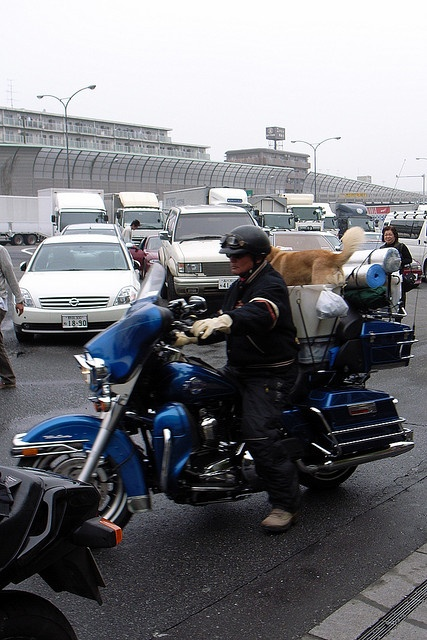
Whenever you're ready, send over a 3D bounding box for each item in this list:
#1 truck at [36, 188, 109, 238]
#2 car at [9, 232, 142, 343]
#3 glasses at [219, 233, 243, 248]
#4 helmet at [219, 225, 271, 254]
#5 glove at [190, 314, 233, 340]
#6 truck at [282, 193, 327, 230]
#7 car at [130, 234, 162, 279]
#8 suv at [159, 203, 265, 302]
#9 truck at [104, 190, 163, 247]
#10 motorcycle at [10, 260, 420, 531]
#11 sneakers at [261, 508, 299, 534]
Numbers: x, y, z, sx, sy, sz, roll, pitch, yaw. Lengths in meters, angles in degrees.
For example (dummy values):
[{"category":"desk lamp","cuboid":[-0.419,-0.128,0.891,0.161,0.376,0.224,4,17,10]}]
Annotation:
[{"category":"truck","cuboid":[-7.392,-5.501,29.047,2.760,3.066,6.188,-1,9,-16]},{"category":"car","cuboid":[-2.645,-0.987,10.960,2.233,1.789,4.204,-1,16,-8]},{"category":"glasses","cuboid":[0.087,-0.452,3.034,0.104,0.038,0.080,-5,6,-39]},{"category":"helmet","cuboid":[0.194,-0.461,3.093,0.236,0.114,0.174,-4,6,-34]},{"category":"glove","cuboid":[-0.008,0.026,2.688,0.184,0.080,0.119,-10,10,-40]},{"category":"truck","cuboid":[5.379,-6.458,31.727,2.078,1.940,3.416,-2,18,-4]},{"category":"car","cuboid":[-2.657,-2.501,21.189,1.164,2.016,1.094,-1,32,-17]},{"category":"suv","cuboid":[-0.282,-1.751,12.662,1.731,1.405,3.038,-2,10,-9]},{"category":"truck","cuboid":[-4.533,-5.322,31.163,2.617,3.741,7.501,-1,3,-12]},{"category":"motorcycle","cuboid":[0.034,0.468,3.207,2.480,1.218,0.923,-5,-4,-21]},{"category":"sneakers","cuboid":[0.385,1.178,3.134,0.112,0.119,0.266,-1,-2,41]}]
